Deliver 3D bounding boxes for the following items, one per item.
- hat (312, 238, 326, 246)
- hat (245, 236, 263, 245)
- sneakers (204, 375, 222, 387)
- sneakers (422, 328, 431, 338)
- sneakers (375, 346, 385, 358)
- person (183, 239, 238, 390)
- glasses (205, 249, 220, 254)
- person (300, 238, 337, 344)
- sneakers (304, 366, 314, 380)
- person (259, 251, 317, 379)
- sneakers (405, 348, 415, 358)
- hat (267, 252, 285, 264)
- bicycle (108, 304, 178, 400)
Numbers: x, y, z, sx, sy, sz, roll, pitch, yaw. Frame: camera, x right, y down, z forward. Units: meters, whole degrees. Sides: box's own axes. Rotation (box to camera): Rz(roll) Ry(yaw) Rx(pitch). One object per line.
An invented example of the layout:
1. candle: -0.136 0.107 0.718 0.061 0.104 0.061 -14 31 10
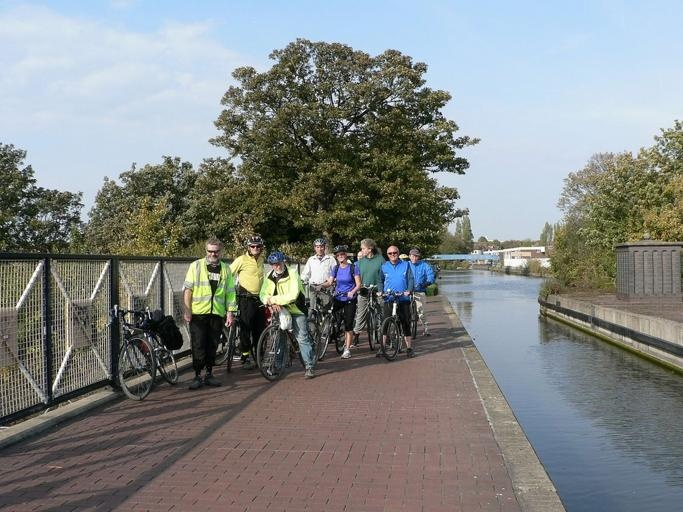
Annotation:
1. hat: -0.437 -0.277 12.722 0.202 0.106 0.292 0 -1 1
2. hat: -1.421 -0.257 10.742 0.151 0.200 0.183 5 4 0
3. sneakers: -1.959 1.871 9.969 0.304 0.122 0.130 2 5 44
4. sneakers: 2.190 1.966 17.091 0.133 0.212 0.208 2 -5 -30
5. sneakers: 0.721 1.833 12.597 0.111 0.235 0.333 8 -3 -1
6. person: -1.960 0.837 9.844 0.758 2.183 0.476 -2 0 -20
7. glasses: -1.895 -0.074 9.730 0.175 0.060 0.181 -2 -1 -14
8. person: -0.456 0.672 12.804 0.749 2.032 0.744 0 -3 3
9. sneakers: -0.532 1.870 10.653 0.136 0.171 0.406 -1 -10 4
10. person: -0.868 0.936 10.557 0.847 1.994 0.482 -2 0 -13
11. sneakers: 1.363 1.931 13.206 0.116 0.127 0.189 -2 -17 1
12. hat: -1.063 0.029 10.612 0.243 0.138 0.355 -8 -8 -6
13. bicycle: -2.810 1.345 9.530 0.497 1.182 1.827 -9 1 9
